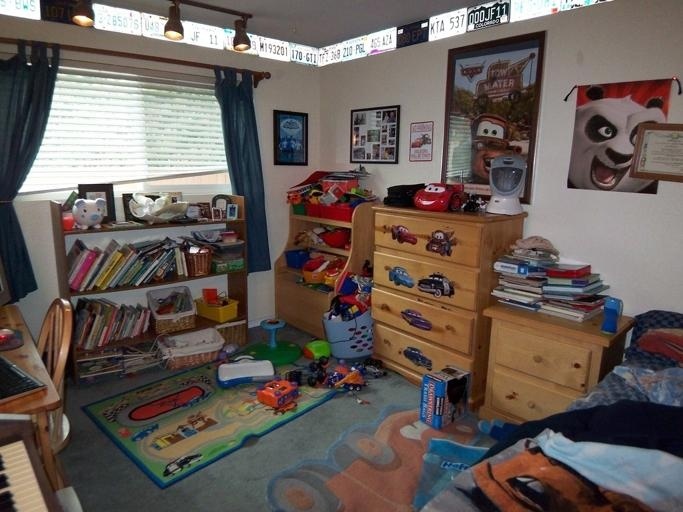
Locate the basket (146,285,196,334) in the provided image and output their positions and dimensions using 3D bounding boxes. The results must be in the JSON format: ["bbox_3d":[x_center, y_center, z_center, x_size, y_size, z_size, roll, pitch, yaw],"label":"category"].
[{"bbox_3d":[-1.431,0.439,3.862,0.335,0.175,0.436,-8,13,-31],"label":"basket"}]

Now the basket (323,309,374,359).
[{"bbox_3d":[0.058,0.629,3.964,0.485,0.330,0.367,-6,12,-11],"label":"basket"}]

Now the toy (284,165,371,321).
[{"bbox_3d":[-0.106,-0.035,4.356,0.595,1.487,1.014,-13,20,-41],"label":"toy"}]

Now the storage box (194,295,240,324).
[{"bbox_3d":[-1.078,0.455,4.043,0.324,0.115,0.204,12,17,38],"label":"storage box"}]

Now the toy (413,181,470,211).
[{"bbox_3d":[0.741,-0.438,3.355,0.225,0.110,0.319,6,14,34],"label":"toy"}]

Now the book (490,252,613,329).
[{"bbox_3d":[1.332,0.193,2.962,0.603,0.233,0.520,14,18,42],"label":"book"}]

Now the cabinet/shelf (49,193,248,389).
[{"bbox_3d":[-1.541,0.282,3.598,1.600,1.355,0.515,-7,11,-39],"label":"cabinet/shelf"}]

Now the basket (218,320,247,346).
[{"bbox_3d":[-0.967,0.663,4.039,0.142,0.210,0.253,8,11,40],"label":"basket"}]

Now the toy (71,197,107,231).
[{"bbox_3d":[-1.825,-0.310,3.395,0.221,0.208,0.256,-9,22,-44],"label":"toy"}]

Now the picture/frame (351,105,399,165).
[{"bbox_3d":[0.325,-1.106,4.197,0.027,0.458,0.622,-13,19,-42],"label":"picture/frame"}]
